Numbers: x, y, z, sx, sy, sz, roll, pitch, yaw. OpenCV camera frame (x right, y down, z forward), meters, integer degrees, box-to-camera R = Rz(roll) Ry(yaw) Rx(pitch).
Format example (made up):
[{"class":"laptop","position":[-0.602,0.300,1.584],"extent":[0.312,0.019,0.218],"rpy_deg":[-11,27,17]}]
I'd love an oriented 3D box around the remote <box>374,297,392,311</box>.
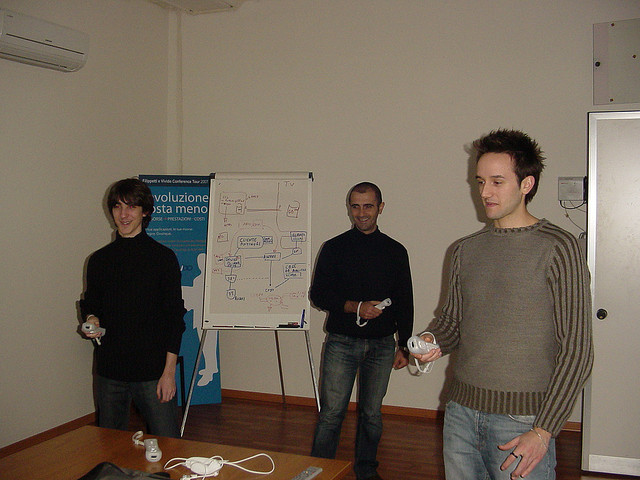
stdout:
[{"class":"remote","position":[0.378,0.411,3.406],"extent":[0.044,0.047,0.168],"rpy_deg":[12,-31,-34]}]

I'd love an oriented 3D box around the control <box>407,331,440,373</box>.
[{"class":"control","position":[0.444,0.502,2.417],"extent":[0.074,0.128,0.194],"rpy_deg":[-2,-38,-24]}]

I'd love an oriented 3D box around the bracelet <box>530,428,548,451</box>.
[{"class":"bracelet","position":[0.858,0.774,2.099],"extent":[0.018,0.068,0.068],"rpy_deg":[-29,3,4]}]

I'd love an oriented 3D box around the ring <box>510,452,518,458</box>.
[{"class":"ring","position":[0.752,0.832,2.092],"extent":[0.020,0.005,0.019],"rpy_deg":[29,-1,0]}]

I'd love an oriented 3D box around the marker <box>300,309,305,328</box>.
[{"class":"marker","position":[-0.141,0.624,4.289],"extent":[0.019,0.141,0.035],"rpy_deg":[3,5,42]}]

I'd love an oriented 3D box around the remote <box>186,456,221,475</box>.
[{"class":"remote","position":[-0.510,0.989,2.377],"extent":[0.138,0.041,0.128],"rpy_deg":[2,4,32]}]

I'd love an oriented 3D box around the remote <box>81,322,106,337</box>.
[{"class":"remote","position":[-1.310,0.522,3.121],"extent":[0.102,0.039,0.077],"rpy_deg":[9,-4,-40]}]

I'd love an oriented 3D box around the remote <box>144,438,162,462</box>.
[{"class":"remote","position":[-0.756,0.949,2.436],"extent":[0.073,0.076,0.089],"rpy_deg":[-1,4,-18]}]

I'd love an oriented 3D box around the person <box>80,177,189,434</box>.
[{"class":"person","position":[-1.123,0.384,3.200],"extent":[0.612,1.494,0.335],"rpy_deg":[-1,4,-12]}]

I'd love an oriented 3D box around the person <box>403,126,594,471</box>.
[{"class":"person","position":[0.755,0.280,2.261],"extent":[0.698,1.500,0.406],"rpy_deg":[2,5,32]}]

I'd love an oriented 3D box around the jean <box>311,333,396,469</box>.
[{"class":"jean","position":[0.216,1.068,3.671],"extent":[0.462,0.931,0.476],"rpy_deg":[6,7,2]}]

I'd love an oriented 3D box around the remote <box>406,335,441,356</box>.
[{"class":"remote","position":[0.457,0.467,2.407],"extent":[0.128,0.071,0.050],"rpy_deg":[6,-33,-38]}]
